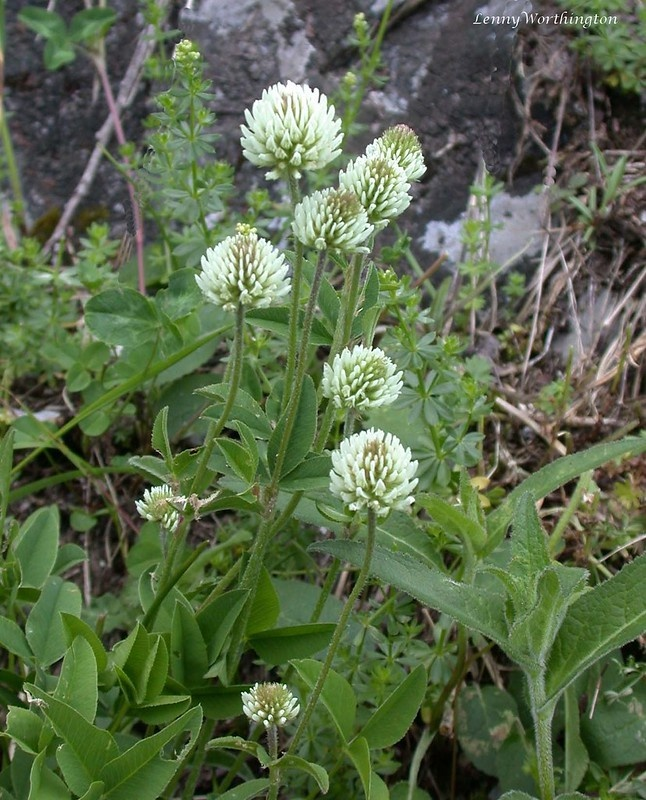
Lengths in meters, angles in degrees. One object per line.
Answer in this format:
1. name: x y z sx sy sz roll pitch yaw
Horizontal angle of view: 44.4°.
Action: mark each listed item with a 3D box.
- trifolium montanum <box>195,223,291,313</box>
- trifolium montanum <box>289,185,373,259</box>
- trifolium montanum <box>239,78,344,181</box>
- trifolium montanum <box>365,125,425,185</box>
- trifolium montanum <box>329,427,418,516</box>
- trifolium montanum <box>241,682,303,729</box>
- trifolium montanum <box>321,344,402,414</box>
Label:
1. trifolium montanum: -0.133 -0.202 1.240 0.146 0.128 0.129 0 6 -9
2. trifolium montanum: 0.012 -0.272 1.190 0.104 0.104 0.099 15 26 25
3. trifolium montanum: -0.048 -0.408 1.255 0.179 0.170 0.160 3 46 -3
4. trifolium montanum: 0.141 -0.449 1.466 0.086 0.102 0.085 19 30 29
5. trifolium montanum: 0.073 0.100 1.164 0.121 0.119 0.132 3 37 2
6. trifolium montanum: -0.083 0.490 1.282 0.114 0.069 0.107 3 -9 1
7. trifolium montanum: 0.061 -0.056 1.275 0.105 0.101 0.100 -10 13 -42
